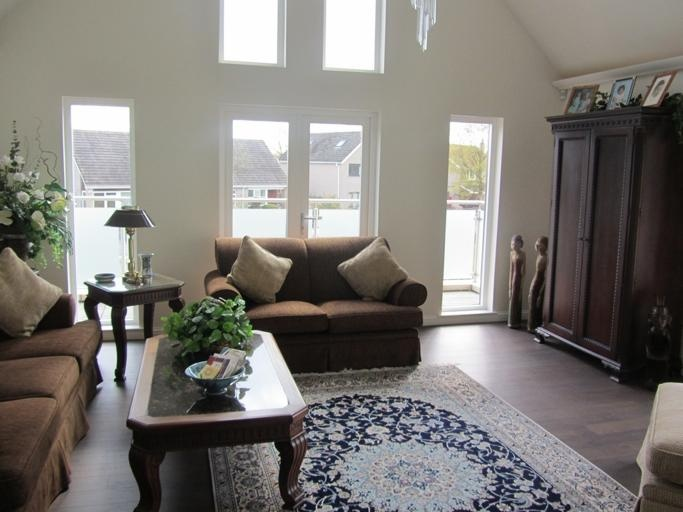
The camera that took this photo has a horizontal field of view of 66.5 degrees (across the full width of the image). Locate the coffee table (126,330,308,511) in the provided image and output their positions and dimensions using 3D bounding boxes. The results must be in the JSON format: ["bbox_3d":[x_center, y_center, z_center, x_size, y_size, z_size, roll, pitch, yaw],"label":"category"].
[{"bbox_3d":[-0.718,1.146,3.094,0.723,0.483,1.181,-2,16,-11],"label":"coffee table"}]

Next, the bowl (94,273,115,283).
[{"bbox_3d":[-2.055,0.177,4.526,0.107,0.049,0.109,1,6,0],"label":"bowl"}]

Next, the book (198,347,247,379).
[{"bbox_3d":[-0.706,0.630,3.127,0.139,0.063,0.196,-1,13,7],"label":"book"}]

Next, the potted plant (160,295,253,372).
[{"bbox_3d":[-0.908,0.492,3.649,0.476,0.290,0.458,1,4,-2],"label":"potted plant"}]

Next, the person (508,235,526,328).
[{"bbox_3d":[1.995,0.299,5.945,0.196,1.054,0.317,6,15,20],"label":"person"}]

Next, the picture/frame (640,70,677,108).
[{"bbox_3d":[2.889,-1.522,4.741,0.219,0.319,0.484,9,16,30],"label":"picture/frame"}]
